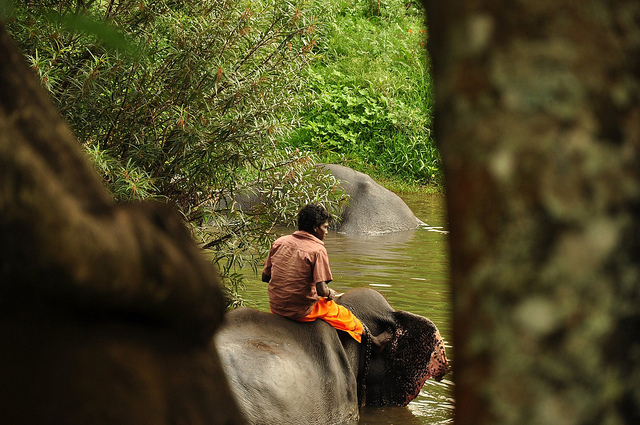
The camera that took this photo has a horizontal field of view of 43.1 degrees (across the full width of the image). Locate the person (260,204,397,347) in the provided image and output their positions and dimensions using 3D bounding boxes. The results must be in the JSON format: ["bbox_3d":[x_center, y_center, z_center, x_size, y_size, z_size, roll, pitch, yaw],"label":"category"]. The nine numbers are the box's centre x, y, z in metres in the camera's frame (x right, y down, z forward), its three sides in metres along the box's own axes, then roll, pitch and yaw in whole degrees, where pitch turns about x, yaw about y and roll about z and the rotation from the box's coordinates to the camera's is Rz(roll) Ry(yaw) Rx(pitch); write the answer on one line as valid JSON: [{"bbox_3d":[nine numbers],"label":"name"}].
[{"bbox_3d":[0.036,0.452,5.958,0.868,0.995,0.743,7,0,-23],"label":"person"}]

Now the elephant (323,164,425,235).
[{"bbox_3d":[0.634,-0.161,15.811,2.266,1.220,3.275,-7,2,-9],"label":"elephant"}]

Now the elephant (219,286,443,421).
[{"bbox_3d":[0.042,1.001,5.464,0.670,1.010,1.627,-9,2,41],"label":"elephant"}]
